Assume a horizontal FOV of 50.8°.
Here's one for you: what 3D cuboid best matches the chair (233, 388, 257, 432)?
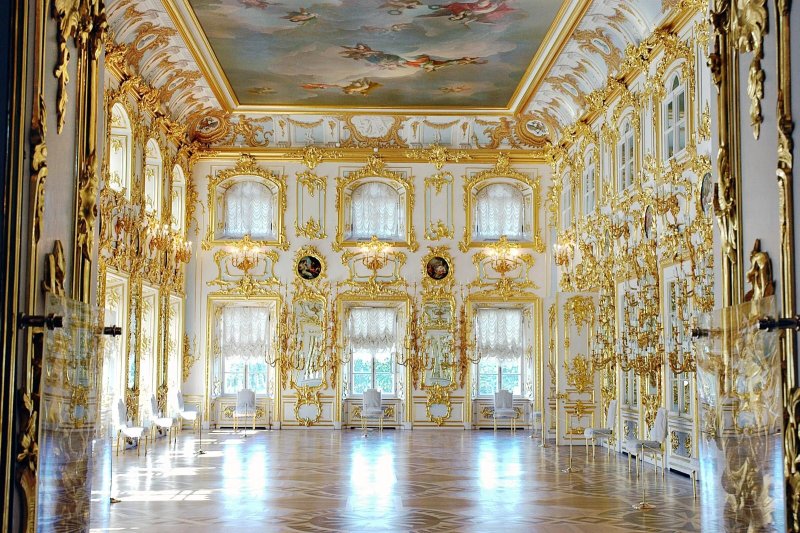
[{"bbox_3d":[-3.662,3.378,19.915,0.581,0.955,1.056,1,-4,-12],"label":"chair"}]

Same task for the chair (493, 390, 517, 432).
[{"bbox_3d":[2.525,3.353,19.851,0.829,0.976,0.857,1,-9,-4],"label":"chair"}]

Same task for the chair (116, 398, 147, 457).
[{"bbox_3d":[-4.723,2.804,14.820,0.616,0.883,0.638,-2,-6,36],"label":"chair"}]

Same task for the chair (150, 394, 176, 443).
[{"bbox_3d":[-4.847,3.024,16.994,0.560,0.844,0.558,-3,12,-43],"label":"chair"}]

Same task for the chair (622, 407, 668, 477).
[{"bbox_3d":[3.936,2.639,12.944,0.570,0.863,0.638,-3,-10,37],"label":"chair"}]

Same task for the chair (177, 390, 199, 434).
[{"bbox_3d":[-4.702,3.248,18.685,0.498,0.822,0.501,4,-5,8],"label":"chair"}]

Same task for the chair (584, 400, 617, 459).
[{"bbox_3d":[3.704,2.895,15.311,0.736,1.042,0.744,-4,-10,43],"label":"chair"}]
